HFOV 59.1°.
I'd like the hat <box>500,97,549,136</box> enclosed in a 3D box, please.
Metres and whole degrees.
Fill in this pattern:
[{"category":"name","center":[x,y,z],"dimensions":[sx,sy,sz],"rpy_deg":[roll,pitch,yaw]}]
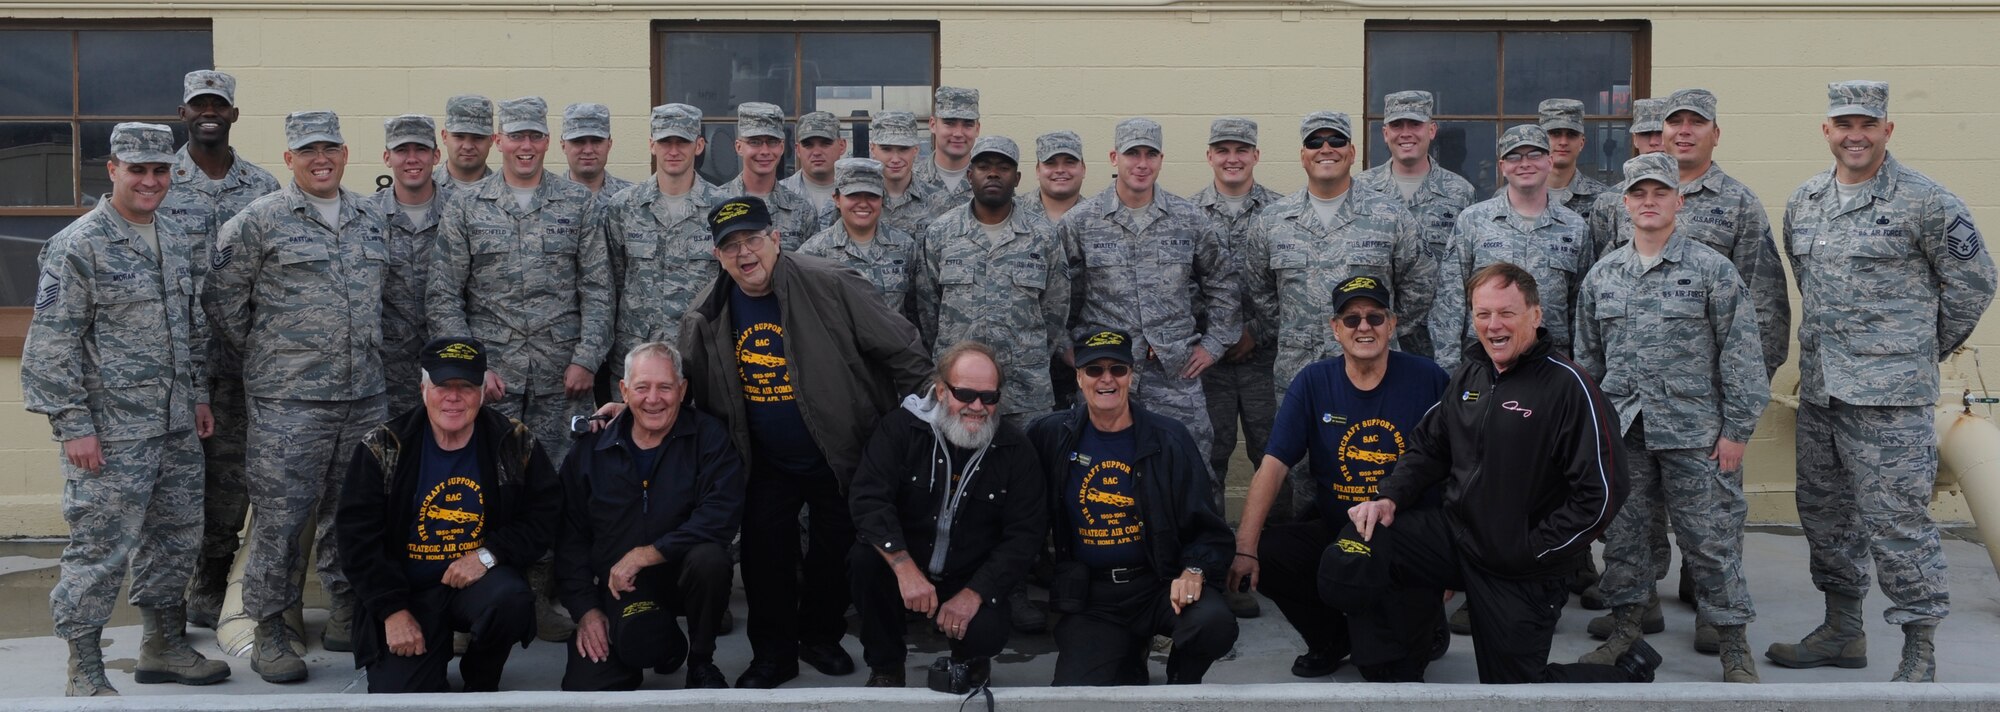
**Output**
[{"category":"hat","center":[-4.855,-2.431,17.794],"dimensions":[0.459,0.198,0.567],"rpy_deg":[-1,2,-16]}]

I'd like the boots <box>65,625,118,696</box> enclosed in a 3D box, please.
[{"category":"boots","center":[-8.710,2.922,16.694],"dimensions":[0.489,0.598,0.336],"rpy_deg":[-3,7,-11]}]

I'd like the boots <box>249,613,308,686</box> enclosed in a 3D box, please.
[{"category":"boots","center":[-6.988,2.853,16.974],"dimensions":[0.469,0.631,0.309],"rpy_deg":[3,8,39]}]

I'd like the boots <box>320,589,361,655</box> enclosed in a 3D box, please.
[{"category":"boots","center":[-6.548,2.623,17.268],"dimensions":[0.539,0.575,0.209],"rpy_deg":[1,8,28]}]

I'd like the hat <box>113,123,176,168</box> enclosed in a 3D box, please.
[{"category":"hat","center":[-8.383,-2.041,17.049],"dimensions":[0.554,0.242,0.614],"rpy_deg":[0,-1,-25]}]

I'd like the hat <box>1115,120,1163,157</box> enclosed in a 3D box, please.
[{"category":"hat","center":[1.438,-2.253,18.146],"dimensions":[0.470,0.206,0.502],"rpy_deg":[1,-3,3]}]

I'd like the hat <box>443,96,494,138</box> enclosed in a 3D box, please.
[{"category":"hat","center":[-5.474,-2.464,18.050],"dimensions":[0.529,0.222,0.531],"rpy_deg":[1,0,-7]}]

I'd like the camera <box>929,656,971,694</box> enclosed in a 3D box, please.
[{"category":"camera","center":[-0.483,3.012,16.413],"dimensions":[0.359,0.239,0.358],"rpy_deg":[-1,6,1]}]

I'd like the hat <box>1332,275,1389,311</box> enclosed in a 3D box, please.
[{"category":"hat","center":[3.406,-0.571,16.886],"dimensions":[0.426,0.370,0.465],"rpy_deg":[-10,-1,4]}]

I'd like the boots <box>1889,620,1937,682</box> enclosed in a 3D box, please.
[{"category":"boots","center":[8.811,2.839,16.849],"dimensions":[0.366,0.540,1.005],"rpy_deg":[1,6,27]}]
